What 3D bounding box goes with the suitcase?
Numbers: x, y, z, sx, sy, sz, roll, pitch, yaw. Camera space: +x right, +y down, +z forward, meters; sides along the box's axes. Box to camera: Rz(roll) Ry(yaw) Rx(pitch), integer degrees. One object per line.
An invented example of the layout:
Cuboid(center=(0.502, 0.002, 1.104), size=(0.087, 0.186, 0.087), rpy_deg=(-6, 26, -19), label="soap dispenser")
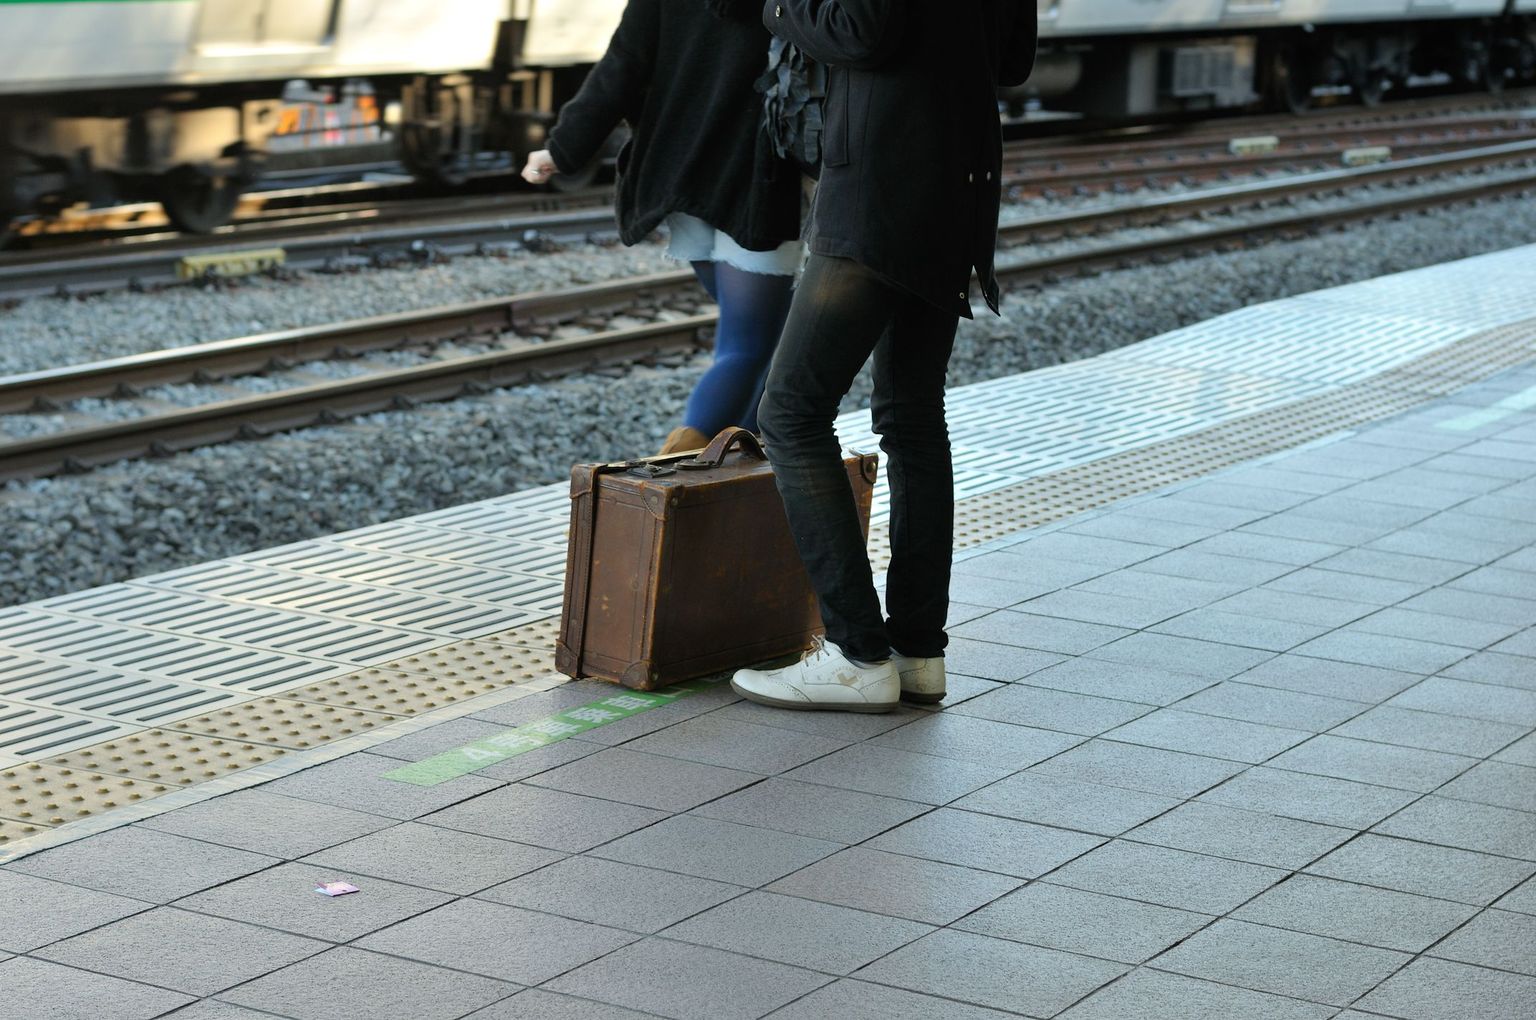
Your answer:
Cuboid(center=(-0.146, 0.196, 4.447), size=(0.419, 0.628, 1.018), rpy_deg=(12, 18, 42), label="suitcase")
